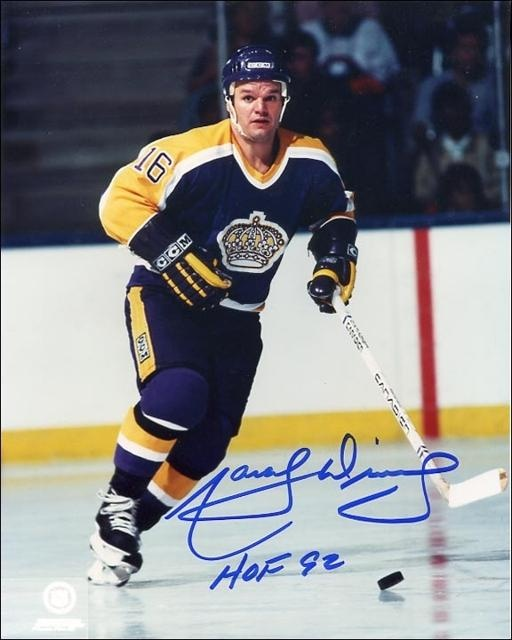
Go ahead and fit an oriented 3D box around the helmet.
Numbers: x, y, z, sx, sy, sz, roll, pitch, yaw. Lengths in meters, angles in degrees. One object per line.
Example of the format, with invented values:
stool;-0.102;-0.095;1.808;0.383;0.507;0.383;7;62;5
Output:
helmet;-0.002;-0.750;3.051;0.160;0.162;0.186;2;-22;-7

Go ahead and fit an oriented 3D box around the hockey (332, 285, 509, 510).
hockey;0.752;0.383;4.724;0.180;1.117;0.172;-21;-23;-28

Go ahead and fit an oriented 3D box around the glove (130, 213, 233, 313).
glove;-0.224;-0.165;2.926;0.317;0.232;0.123;39;10;-1

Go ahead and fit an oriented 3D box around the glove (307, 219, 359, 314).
glove;0.253;-0.171;3.149;0.199;0.267;0.129;2;-41;8

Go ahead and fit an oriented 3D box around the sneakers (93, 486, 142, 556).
sneakers;-0.407;0.589;2.867;0.132;0.176;0.090;-3;4;-10
